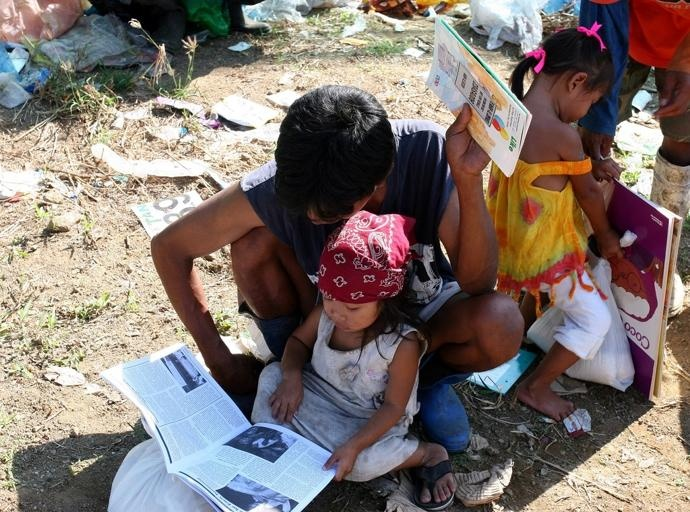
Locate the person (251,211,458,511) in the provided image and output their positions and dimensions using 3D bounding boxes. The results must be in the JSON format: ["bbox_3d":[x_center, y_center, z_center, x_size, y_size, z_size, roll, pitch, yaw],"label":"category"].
[{"bbox_3d":[0.062,0.447,2.266,0.773,0.858,0.565,30,40,30],"label":"person"}]
